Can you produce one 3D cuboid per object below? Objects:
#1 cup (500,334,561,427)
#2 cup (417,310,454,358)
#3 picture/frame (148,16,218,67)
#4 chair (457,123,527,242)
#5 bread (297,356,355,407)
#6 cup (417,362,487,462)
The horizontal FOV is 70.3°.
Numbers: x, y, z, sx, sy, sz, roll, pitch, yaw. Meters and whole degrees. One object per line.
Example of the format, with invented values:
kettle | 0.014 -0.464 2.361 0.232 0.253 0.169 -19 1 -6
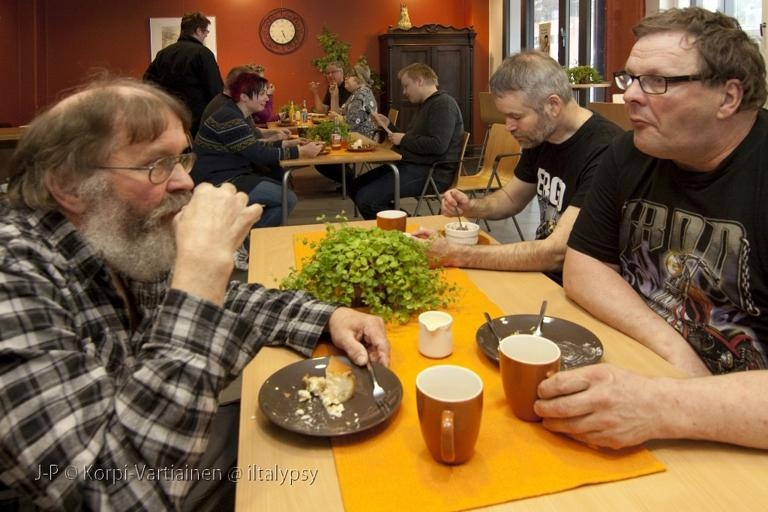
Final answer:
cup | 0.363 0.303 1.310 0.175 0.143 0.125 9 12 37
cup | 0.143 0.224 1.529 0.077 0.097 0.129 -1 5 2
picture/frame | -3.768 -3.977 9.820 0.883 0.729 0.031 2 4 10
chair | 0.863 -0.668 4.967 0.589 1.041 0.734 -6 16 -18
bread | -0.141 0.316 1.390 0.095 0.048 0.086 -9 33 -16
cup | 0.142 0.376 1.178 0.139 0.173 0.234 0 15 11
